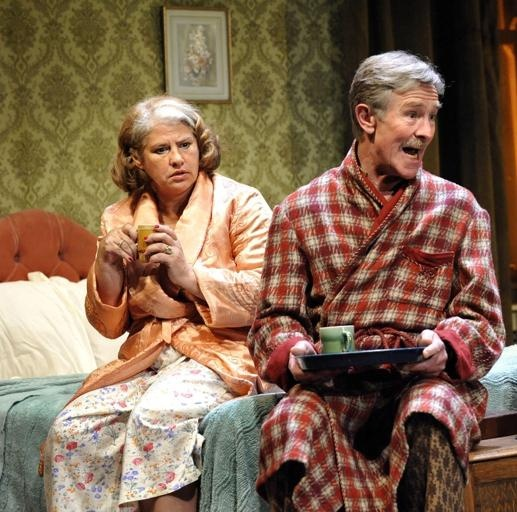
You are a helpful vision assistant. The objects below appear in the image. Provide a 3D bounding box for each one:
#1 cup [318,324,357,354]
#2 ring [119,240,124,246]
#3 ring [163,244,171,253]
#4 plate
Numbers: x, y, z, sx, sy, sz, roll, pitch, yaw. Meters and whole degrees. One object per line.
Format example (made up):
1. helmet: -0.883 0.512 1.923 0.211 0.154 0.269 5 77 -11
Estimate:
1. cup: 0.147 0.157 1.114 0.048 0.044 0.061 2 -4 -39
2. ring: -0.386 -0.036 1.666 0.013 0.004 0.013 0 32 0
3. ring: -0.250 -0.019 1.616 0.017 0.021 0.019 -6 7 -5
4. plate: 0.180 0.182 1.047 0.221 0.049 0.062 0 5 2
